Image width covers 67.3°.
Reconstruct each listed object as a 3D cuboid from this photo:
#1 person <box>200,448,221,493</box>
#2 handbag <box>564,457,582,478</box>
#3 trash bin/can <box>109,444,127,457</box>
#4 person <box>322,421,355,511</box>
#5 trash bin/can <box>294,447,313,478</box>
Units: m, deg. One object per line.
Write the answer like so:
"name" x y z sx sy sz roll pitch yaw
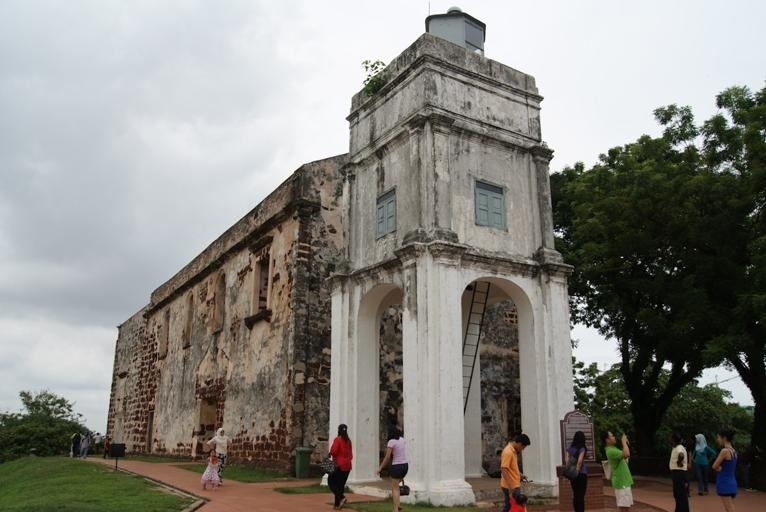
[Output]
"person" -4.587 5.717 15.499 0.431 1.098 1.013 8 -25 -14
"handbag" 3.707 4.220 11.361 0.304 0.561 0.390 2 -18 29
"trash bin/can" -8.445 6.161 18.310 0.437 0.432 0.818 13 -27 -24
"person" -0.993 4.798 13.219 0.485 1.829 0.723 3 -23 -3
"trash bin/can" -2.463 6.363 17.669 0.471 0.885 0.383 7 -24 -11
